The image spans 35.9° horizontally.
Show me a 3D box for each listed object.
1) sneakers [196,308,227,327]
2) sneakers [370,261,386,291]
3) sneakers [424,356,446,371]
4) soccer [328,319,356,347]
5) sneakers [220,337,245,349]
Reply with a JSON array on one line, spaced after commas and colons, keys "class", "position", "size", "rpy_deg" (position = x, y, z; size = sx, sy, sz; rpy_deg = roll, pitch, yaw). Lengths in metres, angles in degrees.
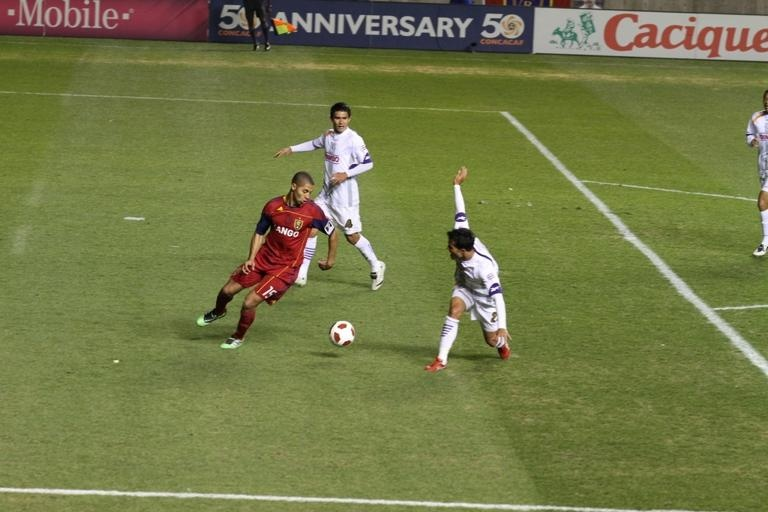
[{"class": "sneakers", "position": [-2.417, 0.840, 16.099], "size": [0.556, 0.145, 0.211], "rpy_deg": [-16, -8, 15]}, {"class": "sneakers", "position": [-0.158, 0.282, 17.326], "size": [0.199, 0.429, 0.235], "rpy_deg": [17, 28, 19]}, {"class": "sneakers", "position": [0.674, 1.418, 15.400], "size": [0.305, 0.093, 0.155], "rpy_deg": [-6, 14, -36]}, {"class": "soccer", "position": [-0.501, 1.036, 15.574], "size": [0.431, 0.290, 0.354], "rpy_deg": [2, 3, 2]}, {"class": "sneakers", "position": [-2.009, 1.160, 15.746], "size": [0.316, 0.102, 0.133], "rpy_deg": [0, 5, -3]}]
